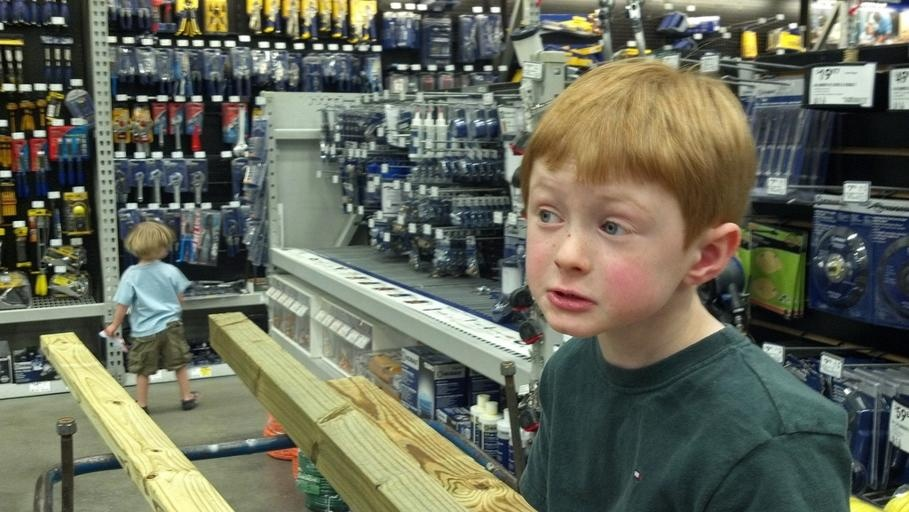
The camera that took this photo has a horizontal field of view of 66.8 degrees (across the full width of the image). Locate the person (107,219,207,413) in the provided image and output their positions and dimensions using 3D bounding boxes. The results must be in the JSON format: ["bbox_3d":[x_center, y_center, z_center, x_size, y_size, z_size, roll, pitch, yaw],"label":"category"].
[{"bbox_3d":[-2.202,0.416,5.161,0.699,1.314,0.831,-2,3,-35],"label":"person"}]

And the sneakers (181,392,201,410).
[{"bbox_3d":[-1.977,1.082,5.153,0.080,0.063,0.181,1,11,5],"label":"sneakers"}]
